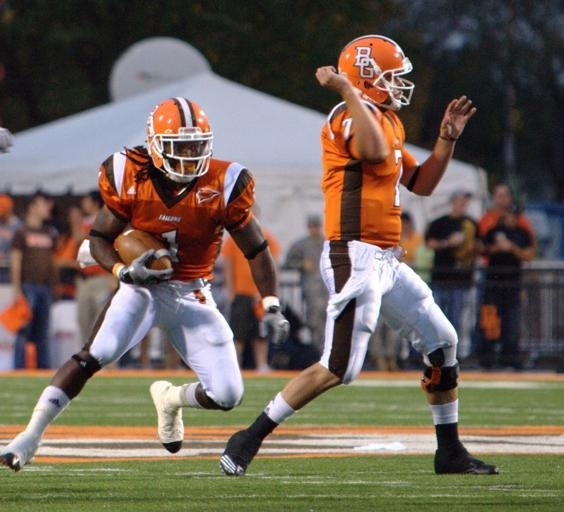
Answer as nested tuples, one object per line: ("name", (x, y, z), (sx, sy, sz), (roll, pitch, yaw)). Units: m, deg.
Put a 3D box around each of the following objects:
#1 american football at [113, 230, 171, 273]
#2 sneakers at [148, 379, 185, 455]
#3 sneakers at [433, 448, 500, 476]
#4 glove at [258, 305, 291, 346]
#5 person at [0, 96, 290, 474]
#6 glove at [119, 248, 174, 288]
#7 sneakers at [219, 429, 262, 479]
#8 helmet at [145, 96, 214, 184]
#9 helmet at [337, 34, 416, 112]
("american football", (-0.874, 0.008, 8.664), (0.296, 0.125, 0.220), (31, 46, 1))
("sneakers", (-0.710, 1.006, 9.061), (0.184, 0.506, 0.227), (-11, 18, -13))
("sneakers", (1.177, 1.309, 8.830), (0.450, 0.201, 0.150), (-3, -6, 8))
("glove", (-0.039, 0.432, 8.692), (0.173, 0.235, 0.227), (1, 3, 3))
("person", (-0.760, 0.150, 8.713), (1.557, 2.284, 0.575), (0, 3, -11))
("glove", (-0.829, 0.076, 8.513), (0.212, 0.132, 0.275), (-13, 18, 25))
("sneakers", (-0.267, 1.230, 8.722), (0.159, 0.366, 0.164), (44, -32, -27))
("helmet", (-0.614, -0.743, 8.729), (0.399, 0.504, 0.538), (-4, 16, -25))
("helmet", (0.645, -1.252, 9.156), (0.536, 0.433, 0.420), (18, 18, -1))
